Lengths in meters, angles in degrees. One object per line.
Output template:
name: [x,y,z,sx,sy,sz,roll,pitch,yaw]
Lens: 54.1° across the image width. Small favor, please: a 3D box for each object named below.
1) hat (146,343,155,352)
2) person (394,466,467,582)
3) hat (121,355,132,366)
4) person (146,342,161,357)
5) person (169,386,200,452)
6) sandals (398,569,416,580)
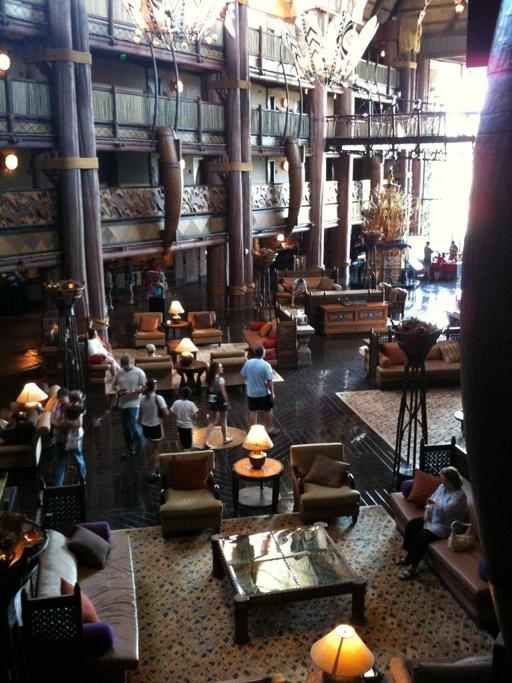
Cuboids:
hat: [-2.680,0.148,12.750,0.151,0.199,0.200,2,-20,-1]
person: [2.136,2.129,5.939,0.792,1.320,0.569,2,14,12]
hat: [-2.185,0.296,8.373,0.158,0.197,0.197,3,-28,-3]
person: [-2.771,0.206,13.508,0.354,0.324,0.941,3,3,-8]
person: [-1.160,1.293,8.351,0.458,1.117,0.329,7,16,10]
sandals: [1.792,2.747,5.914,0.228,0.084,0.084,-1,11,-13]
